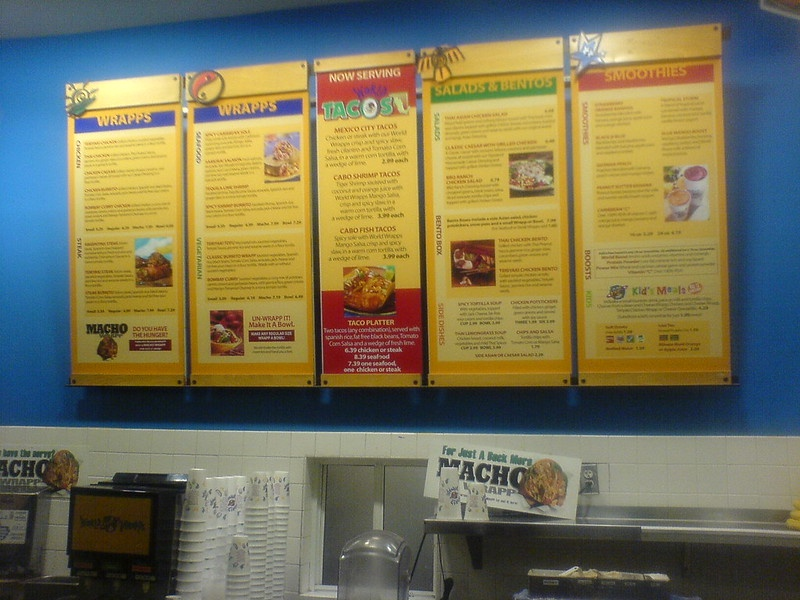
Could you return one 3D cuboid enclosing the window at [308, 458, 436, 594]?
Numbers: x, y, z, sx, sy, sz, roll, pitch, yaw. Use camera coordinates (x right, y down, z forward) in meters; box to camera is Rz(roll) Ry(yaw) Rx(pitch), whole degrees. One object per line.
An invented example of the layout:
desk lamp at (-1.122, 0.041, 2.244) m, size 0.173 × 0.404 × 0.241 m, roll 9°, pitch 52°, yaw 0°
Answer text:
window at (-0.144, 1.302, 4.893) m, size 0.710 × 0.908 × 0.059 m, roll -2°, pitch -5°, yaw 12°
